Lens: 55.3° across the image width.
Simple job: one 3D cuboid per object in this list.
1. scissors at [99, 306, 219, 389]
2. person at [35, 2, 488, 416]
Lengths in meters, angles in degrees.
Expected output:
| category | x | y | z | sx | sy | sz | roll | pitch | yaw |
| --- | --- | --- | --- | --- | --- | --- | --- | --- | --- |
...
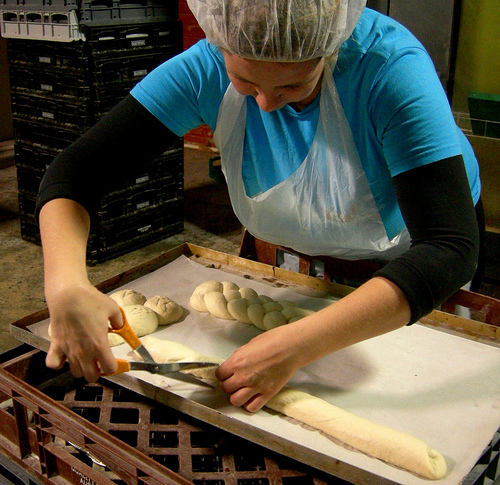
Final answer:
| category | x | y | z | sx | sy | sz | roll | pitch | yaw |
| --- | --- | --- | --- | --- | --- | --- | --- | --- | --- |
| scissors | -0.281 | 0.289 | 1.289 | 0.273 | 0.248 | 0.276 | -12 | 21 | -36 |
| person | 0.004 | -0.119 | 1.393 | 1.123 | 1.026 | 0.783 | 3 | 18 | 7 |
